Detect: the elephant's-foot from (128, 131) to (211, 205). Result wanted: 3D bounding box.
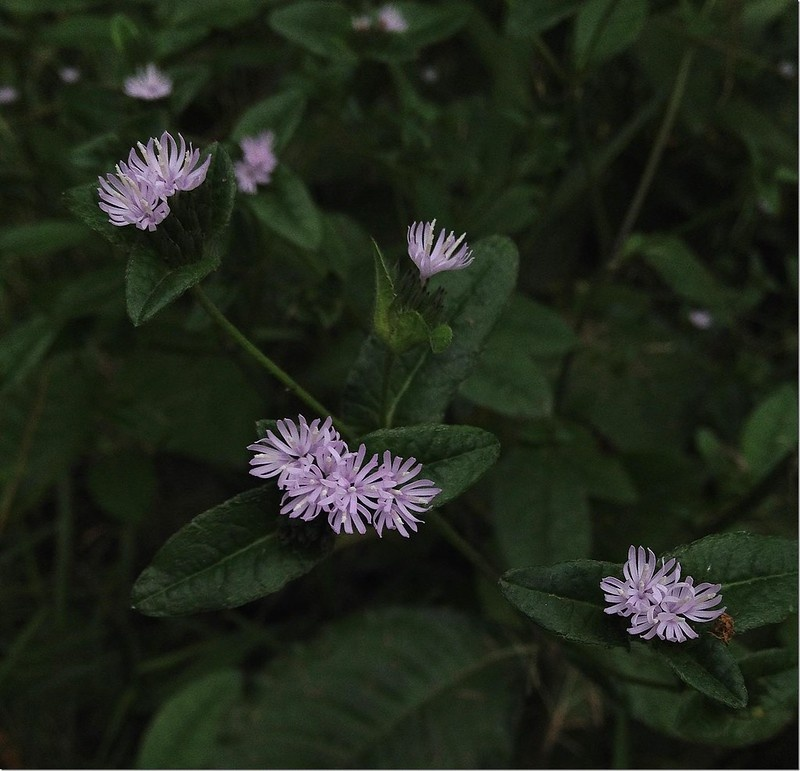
[{"bbox_3d":[-0.217,-0.206,0.803,0.079,0.085,0.042,-6,93,35],"label":"elephant's-foot"}]

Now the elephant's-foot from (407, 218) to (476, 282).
[{"bbox_3d":[0.034,-0.123,0.860,0.063,0.058,0.067,0,28,-28],"label":"elephant's-foot"}]

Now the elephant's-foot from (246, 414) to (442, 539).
[{"bbox_3d":[-0.047,0.073,0.767,0.167,0.065,0.096,6,79,3],"label":"elephant's-foot"}]
